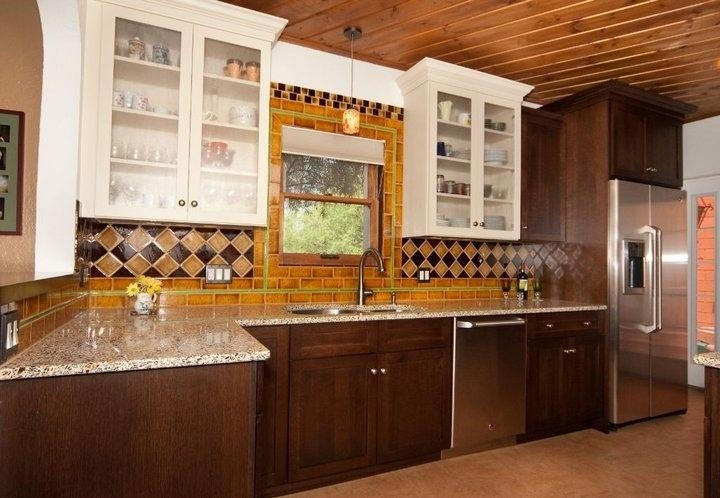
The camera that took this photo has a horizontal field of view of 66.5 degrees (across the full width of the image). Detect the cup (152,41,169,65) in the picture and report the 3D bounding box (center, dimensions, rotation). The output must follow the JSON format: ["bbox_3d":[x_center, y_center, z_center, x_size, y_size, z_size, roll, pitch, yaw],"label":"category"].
[{"bbox_3d":[-1.333,-1.301,3.674,0.132,0.139,0.129,-1,1,0],"label":"cup"}]

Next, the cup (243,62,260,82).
[{"bbox_3d":[-0.767,-1.257,3.947,0.130,0.134,0.126,0,-1,0],"label":"cup"}]

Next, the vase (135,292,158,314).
[{"bbox_3d":[-1.387,0.356,3.610,0.172,0.145,0.132,6,-9,-31],"label":"vase"}]

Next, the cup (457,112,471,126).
[{"bbox_3d":[0.846,-1.063,4.480,0.109,0.078,0.086,-1,2,-2],"label":"cup"}]

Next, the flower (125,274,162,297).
[{"bbox_3d":[-1.388,0.226,3.579,0.191,0.127,0.191,14,26,14],"label":"flower"}]

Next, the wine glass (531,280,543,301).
[{"bbox_3d":[1.589,0.359,4.906,0.083,0.196,0.455,4,9,18],"label":"wine glass"}]

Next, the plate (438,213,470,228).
[{"bbox_3d":[0.746,-0.226,4.418,0.290,0.107,0.093,0,9,-8],"label":"plate"}]

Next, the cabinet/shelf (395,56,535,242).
[{"bbox_3d":[0.808,-0.812,4.493,1.474,1.704,0.599,2,-5,-25],"label":"cabinet/shelf"}]

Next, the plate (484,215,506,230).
[{"bbox_3d":[1.115,-0.207,4.546,0.139,0.087,0.136,0,0,-30],"label":"plate"}]

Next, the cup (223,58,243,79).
[{"bbox_3d":[-0.890,-1.260,3.840,0.130,0.137,0.127,1,-6,0],"label":"cup"}]

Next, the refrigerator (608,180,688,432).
[{"bbox_3d":[2.422,0.403,4.663,0.984,1.951,0.408,-3,10,-25],"label":"refrigerator"}]

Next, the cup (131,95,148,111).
[{"bbox_3d":[-1.458,-0.960,3.646,0.097,0.105,0.100,7,7,-1],"label":"cup"}]

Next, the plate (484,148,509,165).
[{"bbox_3d":[1.118,-0.760,4.554,0.164,0.082,0.137,0,2,-22],"label":"plate"}]

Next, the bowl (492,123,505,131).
[{"bbox_3d":[1.156,-1.020,4.607,0.090,0.055,0.079,-3,-3,34],"label":"bowl"}]

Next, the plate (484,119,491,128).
[{"bbox_3d":[1.060,-1.045,4.570,0.076,0.078,0.074,1,4,3],"label":"plate"}]

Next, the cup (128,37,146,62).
[{"bbox_3d":[-1.481,-1.309,3.645,0.131,0.173,0.128,1,3,0],"label":"cup"}]

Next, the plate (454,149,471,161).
[{"bbox_3d":[0.827,-0.774,4.471,0.105,0.040,0.103,2,-2,-43],"label":"plate"}]

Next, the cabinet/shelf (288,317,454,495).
[{"bbox_3d":[-0.038,1.025,3.991,1.293,1.071,0.652,1,-1,-29],"label":"cabinet/shelf"}]

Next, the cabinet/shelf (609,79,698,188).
[{"bbox_3d":[2.508,-0.943,4.797,0.939,0.807,0.239,7,-9,-22],"label":"cabinet/shelf"}]
